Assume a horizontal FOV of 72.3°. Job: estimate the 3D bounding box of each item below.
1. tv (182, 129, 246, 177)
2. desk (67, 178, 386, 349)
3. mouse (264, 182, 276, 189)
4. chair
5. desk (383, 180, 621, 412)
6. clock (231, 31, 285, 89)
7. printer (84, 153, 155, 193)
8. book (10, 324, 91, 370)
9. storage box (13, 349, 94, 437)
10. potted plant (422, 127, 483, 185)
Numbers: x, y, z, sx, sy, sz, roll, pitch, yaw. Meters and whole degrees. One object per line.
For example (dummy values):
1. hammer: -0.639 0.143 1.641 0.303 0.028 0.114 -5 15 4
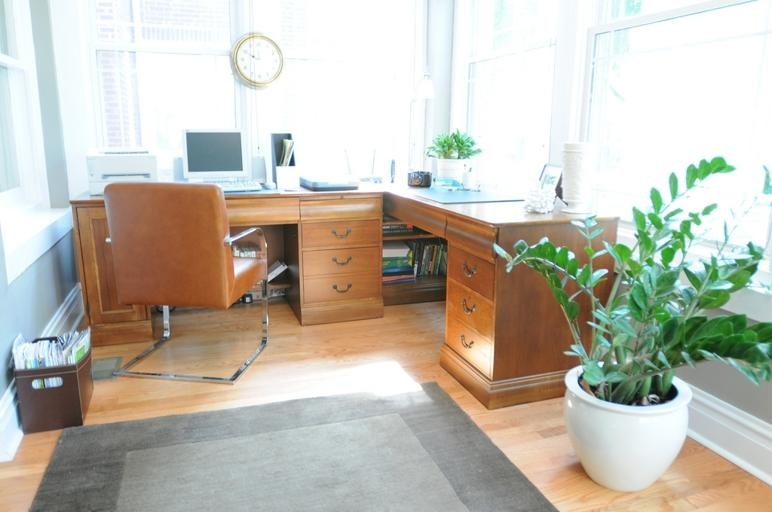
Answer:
1. tv: -1.270 -0.747 3.814 0.370 0.270 0.032 -1 6 -17
2. desk: -1.108 -0.026 3.871 1.951 0.942 0.658 -2 15 -23
3. mouse: -0.863 -0.516 3.902 0.078 0.050 0.102 -2 12 -11
4. chair: -1.225 0.111 3.398 0.811 1.126 0.913 2 8 9
5. desk: 0.588 0.131 3.524 0.825 0.998 1.489 -6 17 -24
6. clock: -0.992 -1.479 4.053 0.401 0.384 0.398 -9 6 -14
7. printer: -1.781 -0.578 3.516 0.450 0.279 0.284 -4 13 -21
8. book: -1.728 0.462 2.711 0.256 0.084 0.195 -2 7 -29
9. storage box: -1.800 0.768 2.971 0.379 0.413 0.636 -12 -11 -23
10. potted plant: 0.499 -0.751 4.079 0.332 0.332 0.365 3 -1 -2
